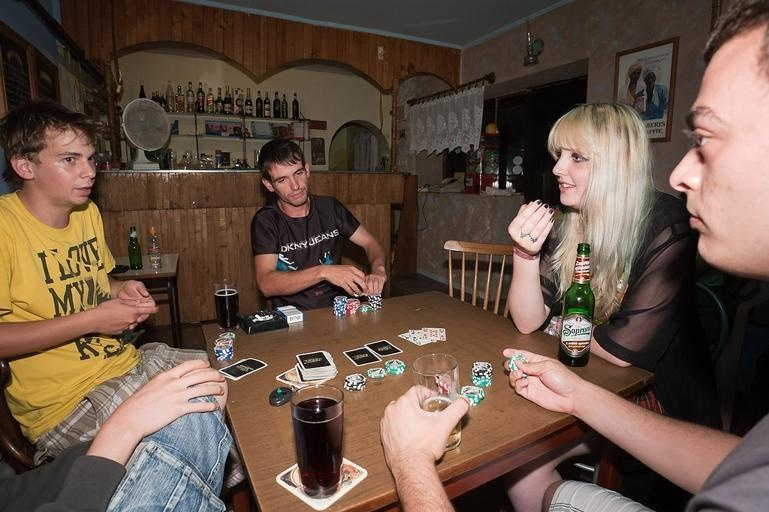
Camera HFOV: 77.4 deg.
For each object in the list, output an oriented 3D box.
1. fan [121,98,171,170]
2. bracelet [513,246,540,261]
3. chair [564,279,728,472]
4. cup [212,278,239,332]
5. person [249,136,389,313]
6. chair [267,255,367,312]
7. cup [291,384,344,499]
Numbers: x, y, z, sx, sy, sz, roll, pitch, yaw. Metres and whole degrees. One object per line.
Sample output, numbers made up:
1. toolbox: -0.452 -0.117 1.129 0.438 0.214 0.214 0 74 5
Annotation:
1. fan: -2.354 -1.140 4.627 0.377 0.673 0.433 13 13 32
2. bracelet: 0.704 -0.007 2.378 0.084 0.034 0.076 19 19 39
3. chair: 1.214 0.412 2.362 0.765 0.957 0.635 -3 2 -43
4. cup: -0.782 0.254 2.371 0.119 0.213 0.115 -2 11 0
5. person: -0.434 -0.150 3.069 0.849 1.100 0.986 -18 21 -33
6. chair: -0.448 0.155 2.793 0.419 0.170 0.304 -3 1 5
7. cup: -0.218 0.615 1.615 0.168 0.306 0.189 -4 14 -10
